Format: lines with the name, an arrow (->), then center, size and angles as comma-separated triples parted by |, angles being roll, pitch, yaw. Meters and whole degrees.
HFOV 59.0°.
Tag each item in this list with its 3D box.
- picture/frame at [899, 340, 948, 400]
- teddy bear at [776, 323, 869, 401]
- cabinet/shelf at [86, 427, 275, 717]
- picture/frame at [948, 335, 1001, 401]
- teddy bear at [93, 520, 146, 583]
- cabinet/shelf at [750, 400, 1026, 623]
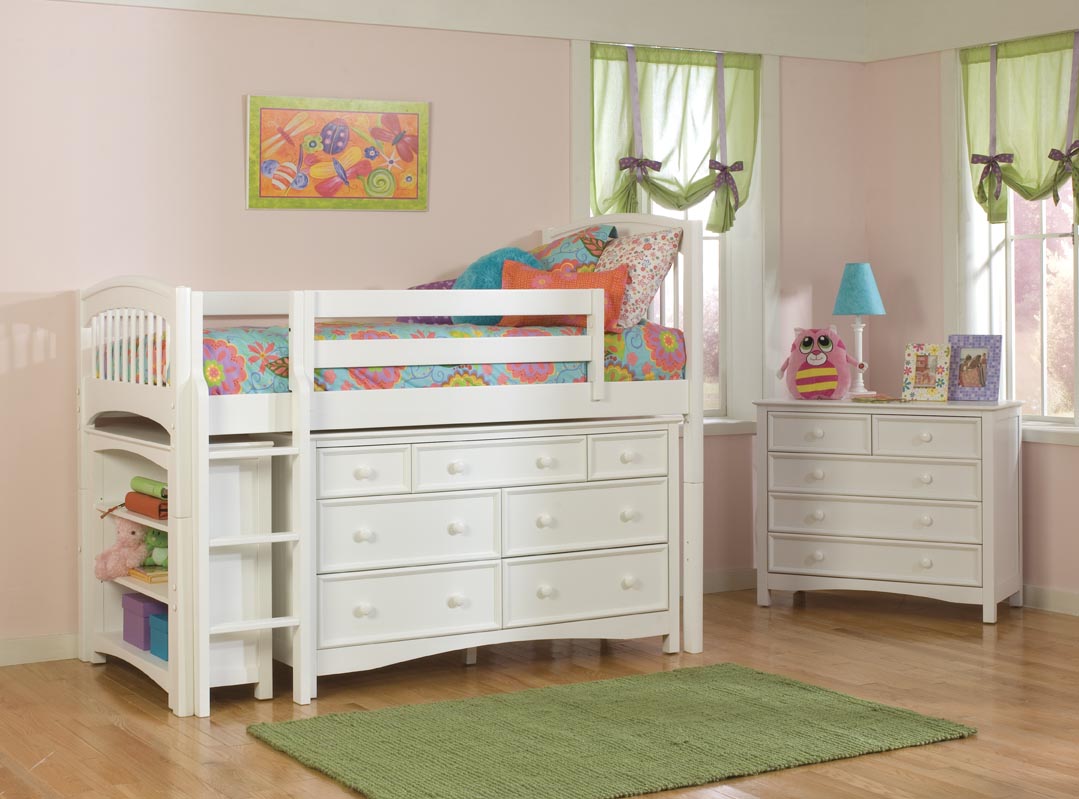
picture/frame -> 1.836, -0.133, 4.502 | 0.203, 0.266, 0.166 | 0, 0, 23
teddy bear -> 1.397, -0.181, 4.748 | 0.387, 0.328, 0.184 | -3, -11, 26
cabinet/shelf -> -1.216, 0.596, 3.261 | 0.370, 0.859, 0.945 | 0, 2, -34
picture/frame -> 2.028, -0.139, 4.411 | 0.316, 0.397, 0.028 | -1, -11, 37
teddy bear -> -1.556, 0.548, 3.563 | 0.184, 0.237, 0.197 | -3, 1, 35
cabinet/shelf -> 1.652, 0.497, 4.396 | 1.021, 0.816, 0.432 | -1, -3, 27
